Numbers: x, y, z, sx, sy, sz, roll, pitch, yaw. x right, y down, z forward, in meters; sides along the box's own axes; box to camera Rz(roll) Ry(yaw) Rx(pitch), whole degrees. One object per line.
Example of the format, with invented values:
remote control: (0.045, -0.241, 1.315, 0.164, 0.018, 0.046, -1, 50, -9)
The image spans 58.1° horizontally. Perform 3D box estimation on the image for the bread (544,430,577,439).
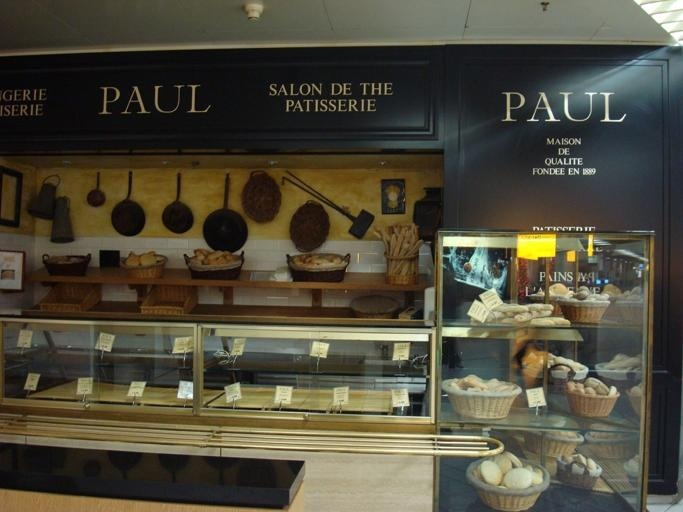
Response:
bread: (1.346, 1.084, 3.757, 0.088, 0.026, 0.084, 0, -1, 30)

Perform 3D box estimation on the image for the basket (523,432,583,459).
basket: (1.290, 1.144, 3.761, 0.232, 0.069, 0.208, -4, -5, 25)

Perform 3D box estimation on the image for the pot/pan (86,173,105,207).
pot/pan: (-2.165, -0.577, 5.408, 0.190, 0.293, 0.037, 0, -2, 0)

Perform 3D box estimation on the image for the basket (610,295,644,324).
basket: (1.719, 0.316, 3.727, 0.211, 0.148, 0.162, 0, -4, 8)

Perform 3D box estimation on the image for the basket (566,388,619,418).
basket: (1.511, 0.874, 3.740, 0.206, 0.079, 0.194, 0, -1, 23)

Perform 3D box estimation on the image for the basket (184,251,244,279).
basket: (-1.046, 0.074, 5.100, 0.478, 0.230, 0.277, 0, 1, -12)

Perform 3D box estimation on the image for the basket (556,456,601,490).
basket: (1.441, 1.303, 3.745, 0.210, 0.111, 0.248, 0, -4, 27)

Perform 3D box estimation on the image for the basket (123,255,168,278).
basket: (-1.647, 0.085, 5.174, 0.335, 0.180, 0.267, 0, 1, -1)

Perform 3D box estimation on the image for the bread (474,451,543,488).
bread: (1.030, 1.299, 3.745, 0.271, 0.084, 0.256, 0, 5, 11)

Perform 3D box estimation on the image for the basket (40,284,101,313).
basket: (-2.294, 0.342, 5.264, 0.319, 0.165, 0.289, 0, 0, -2)

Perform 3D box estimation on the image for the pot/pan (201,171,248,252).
pot/pan: (-0.999, -0.377, 5.346, 0.368, 0.680, 0.075, 0, 1, 11)

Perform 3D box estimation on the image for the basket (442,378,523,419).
basket: (0.924, 0.872, 3.904, 0.442, 0.172, 0.417, 1, 4, 18)

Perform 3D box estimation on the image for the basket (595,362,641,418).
basket: (1.705, 0.795, 3.711, 0.313, 0.213, 0.285, -1, 2, -20)

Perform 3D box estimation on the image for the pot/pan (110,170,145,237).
pot/pan: (-1.869, -0.462, 5.427, 0.291, 0.578, 0.073, 0, 1, 16)

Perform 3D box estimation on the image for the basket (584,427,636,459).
basket: (1.631, 1.140, 3.736, 0.233, 0.092, 0.216, -3, -1, 15)

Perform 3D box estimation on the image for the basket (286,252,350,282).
basket: (-0.188, 0.091, 5.067, 0.509, 0.225, 0.324, 0, 1, 0)

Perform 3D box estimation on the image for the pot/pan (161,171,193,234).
pot/pan: (-1.428, -0.453, 5.250, 0.325, 0.477, 0.061, 0, 0, -2)
